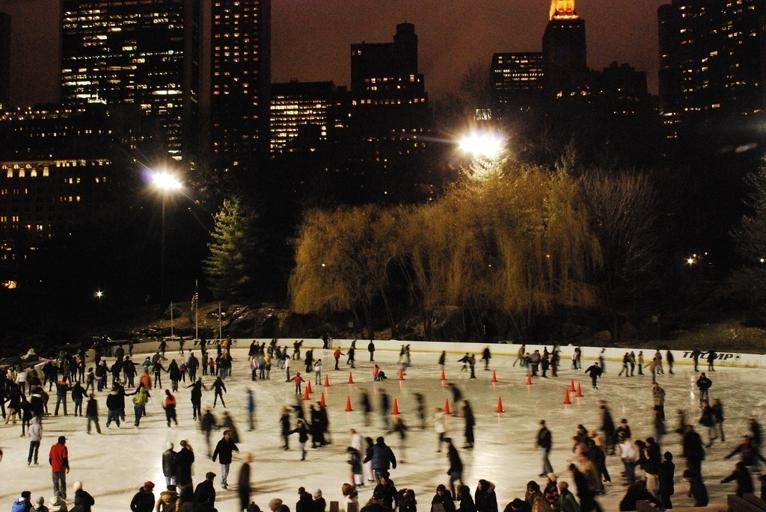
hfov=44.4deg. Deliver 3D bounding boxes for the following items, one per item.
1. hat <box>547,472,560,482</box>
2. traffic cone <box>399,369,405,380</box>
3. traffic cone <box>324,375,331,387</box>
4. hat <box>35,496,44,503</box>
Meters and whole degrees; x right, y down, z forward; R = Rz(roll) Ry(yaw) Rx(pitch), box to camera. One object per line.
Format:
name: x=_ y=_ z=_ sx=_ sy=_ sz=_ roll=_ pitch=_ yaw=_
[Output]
hat: x=12.990 y=17.026 z=71.896 sx=0.611 sy=0.785 sz=1.195 roll=-5 pitch=-6 yaw=22
traffic cone: x=1.882 y=11.777 z=92.172 sx=0.743 sy=1.110 sz=0.820 roll=0 pitch=-9 yaw=0
traffic cone: x=-5.356 y=12.170 z=90.720 sx=0.680 sy=0.988 sz=0.714 roll=-1 pitch=7 yaw=-18
hat: x=-25.971 y=18.507 z=71.025 sx=0.604 sy=0.622 sz=0.457 roll=-1 pitch=1 yaw=-33
